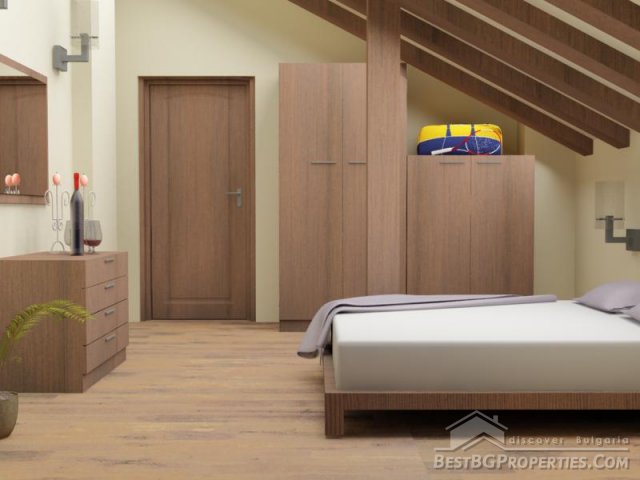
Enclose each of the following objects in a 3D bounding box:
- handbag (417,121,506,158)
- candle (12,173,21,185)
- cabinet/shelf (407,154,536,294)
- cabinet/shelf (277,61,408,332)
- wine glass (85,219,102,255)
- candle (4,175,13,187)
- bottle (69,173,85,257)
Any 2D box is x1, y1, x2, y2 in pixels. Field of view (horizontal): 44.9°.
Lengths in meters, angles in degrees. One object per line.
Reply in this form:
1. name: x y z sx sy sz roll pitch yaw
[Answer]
1. handbag: 1.190 -0.849 6.604 0.692 0.267 0.247 -3 11 5
2. candle: -2.093 -0.420 5.326 0.007 0.085 0.077 0 11 18
3. cabinet/shelf: 1.236 -0.148 6.493 1.104 1.341 0.426 0 3 0
4. cabinet/shelf: 0.018 -0.374 6.465 0.826 2.171 0.388 -3 11 4
5. wine glass: -1.640 -0.035 5.562 0.119 0.241 0.309 -7 11 -16
6. candle: -2.121 -0.404 5.261 0.003 0.082 0.077 1 12 23
7. bottle: -1.668 -0.178 5.257 0.097 0.540 0.174 -5 11 -8
